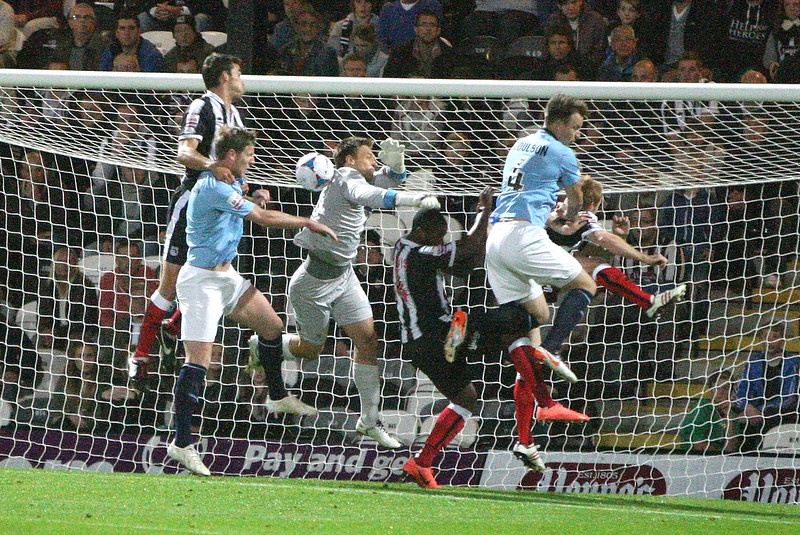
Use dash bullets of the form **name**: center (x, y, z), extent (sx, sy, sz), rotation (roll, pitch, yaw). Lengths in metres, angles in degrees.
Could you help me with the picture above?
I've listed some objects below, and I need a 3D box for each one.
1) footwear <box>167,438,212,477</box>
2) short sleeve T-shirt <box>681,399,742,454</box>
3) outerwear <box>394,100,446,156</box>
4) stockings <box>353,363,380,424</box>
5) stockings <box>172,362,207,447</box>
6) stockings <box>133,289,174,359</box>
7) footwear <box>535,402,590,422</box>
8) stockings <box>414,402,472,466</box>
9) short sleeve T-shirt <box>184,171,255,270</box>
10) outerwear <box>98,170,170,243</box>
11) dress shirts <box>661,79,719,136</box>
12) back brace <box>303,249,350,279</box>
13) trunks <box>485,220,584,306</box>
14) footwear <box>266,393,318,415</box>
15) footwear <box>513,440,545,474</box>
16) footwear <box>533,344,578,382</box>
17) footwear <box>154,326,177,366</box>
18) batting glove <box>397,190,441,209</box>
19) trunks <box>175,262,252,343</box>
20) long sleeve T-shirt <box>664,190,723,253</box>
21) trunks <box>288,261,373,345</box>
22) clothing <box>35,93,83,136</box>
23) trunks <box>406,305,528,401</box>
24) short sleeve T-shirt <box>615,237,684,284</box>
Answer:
- **footwear**: center (-1.888, 1.723, 10.407), extent (0.336, 0.334, 0.314), rotation (-2, 8, -32)
- **short sleeve T-shirt**: center (3.166, 1.656, 11.881), extent (0.505, 0.231, 0.561), rotation (-9, 31, 33)
- **outerwear**: center (0.211, -1.489, 12.431), extent (0.665, 0.547, 0.251), rotation (4, 6, 14)
- **stockings**: center (-0.311, 1.176, 10.848), extent (0.224, 0.557, 0.189), rotation (1, 8, -7)
- **stockings**: center (-1.922, 1.267, 10.443), extent (0.321, 0.775, 0.292), rotation (11, -12, -44)
- **stockings**: center (-2.500, 0.549, 11.170), extent (0.268, 0.712, 0.343), rotation (26, -5, -22)
- **footwear**: center (1.439, 1.305, 10.550), extent (0.573, 0.172, 0.172), rotation (-2, -9, 5)
- **stockings**: center (0.384, 1.599, 10.755), extent (0.275, 0.717, 0.275), rotation (39, 11, 26)
- **short sleeve T-shirt**: center (-1.587, -0.373, 10.521), extent (0.738, 0.793, 0.772), rotation (3, 0, -5)
- **outerwear**: center (-2.949, -0.718, 12.913), extent (0.844, 0.809, 0.378), rotation (8, -6, 1)
- **dress shirts**: center (3.005, -1.615, 12.169), extent (0.730, 0.591, 0.237), rotation (-2, -27, 5)
- **back brace**: center (-0.669, -0.016, 10.843), extent (0.305, 0.106, 0.299), rotation (19, 13, 24)
- **trunks**: center (1.220, -0.070, 10.556), extent (0.786, 0.685, 0.443), rotation (-5, 24, 42)
- **footwear**: center (-1.006, 1.287, 10.893), extent (0.579, 0.203, 0.187), rotation (1, -7, 0)
- **footwear**: center (1.161, 1.709, 10.536), extent (0.288, 0.291, 0.213), rotation (2, 7, -5)
- **footwear**: center (1.405, 0.873, 10.536), extent (0.379, 0.323, 0.249), rotation (3, 7, 5)
- **footwear**: center (-2.233, 0.737, 11.364), extent (0.165, 0.420, 0.207), rotation (-21, 24, -35)
- **batting glove**: center (0.158, -0.586, 10.071), extent (0.395, 0.128, 0.144), rotation (-2, 7, 16)
- **trunks**: center (-1.714, 0.290, 10.593), extent (0.473, 0.592, 0.919), rotation (-1, 4, 28)
- **long sleeve T-shirt**: center (3.144, -0.470, 12.370), extent (0.706, 0.653, 0.399), rotation (4, 8, 23)
- **trunks**: center (-0.656, 0.348, 11.069), extent (0.817, 0.679, 0.485), rotation (-17, 14, -17)
- **clothing**: center (-3.716, -1.739, 12.828), extent (0.603, 0.326, 0.605), rotation (-1, 5, -24)
- **trunks**: center (0.671, 0.693, 10.694), extent (1.050, 0.303, 0.833), rotation (-28, 23, -2)
- **short sleeve T-shirt**: center (2.668, 0.004, 12.393), extent (0.941, 0.548, 0.442), rotation (-2, 2, 12)
